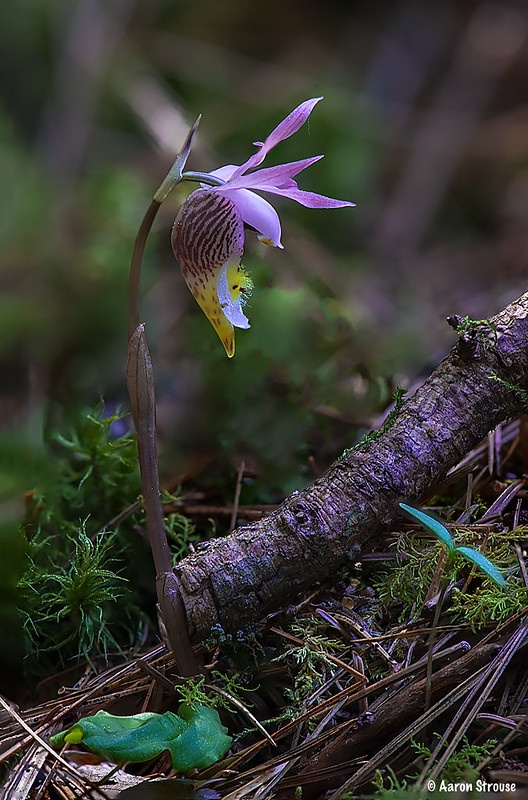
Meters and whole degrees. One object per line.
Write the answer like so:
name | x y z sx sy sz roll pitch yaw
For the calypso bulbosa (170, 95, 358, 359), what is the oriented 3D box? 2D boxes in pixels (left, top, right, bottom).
calypso bulbosa | -0.003 -0.292 1.334 0.361 0.377 0.289 -8 14 -6
